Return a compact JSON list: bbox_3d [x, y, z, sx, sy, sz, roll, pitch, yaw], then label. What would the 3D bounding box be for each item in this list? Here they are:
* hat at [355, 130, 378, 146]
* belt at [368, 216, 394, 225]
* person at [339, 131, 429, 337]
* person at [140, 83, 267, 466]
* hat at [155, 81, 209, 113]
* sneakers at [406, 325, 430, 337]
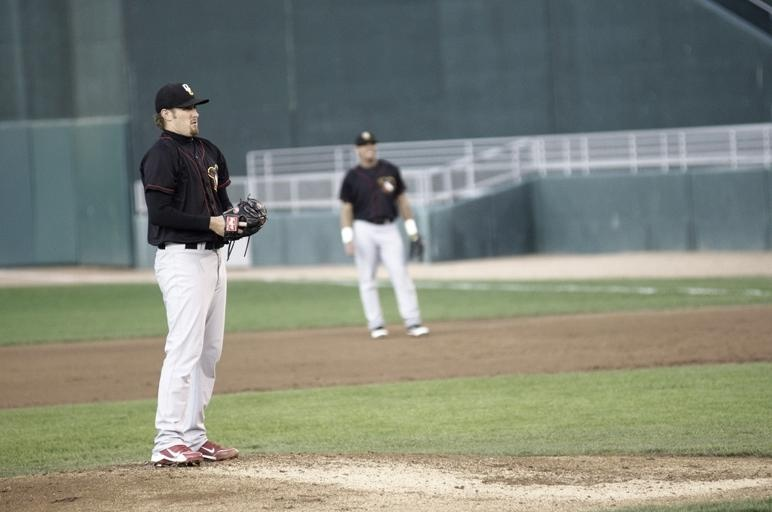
[{"bbox_3d":[-0.187,-1.038,13.170,0.110,0.075,0.148,-4,-11,-11],"label":"hat"},{"bbox_3d":[-0.055,-0.317,13.643,0.235,0.079,0.035,-2,9,-4],"label":"belt"},{"bbox_3d":[-0.059,-0.179,13.569,0.717,1.926,0.631,-2,9,-3],"label":"person"},{"bbox_3d":[-1.431,0.139,11.237,0.842,2.847,0.587,-4,9,-17],"label":"person"},{"bbox_3d":[-1.548,-1.195,11.238,0.353,0.179,0.231,-2,8,-1],"label":"hat"},{"bbox_3d":[0.285,0.692,13.491,0.204,0.107,0.233,-1,9,0],"label":"sneakers"}]
